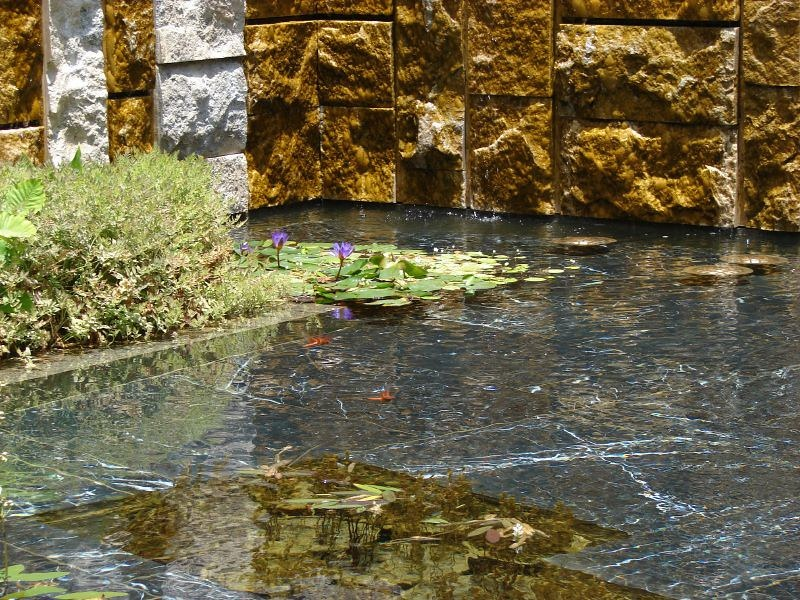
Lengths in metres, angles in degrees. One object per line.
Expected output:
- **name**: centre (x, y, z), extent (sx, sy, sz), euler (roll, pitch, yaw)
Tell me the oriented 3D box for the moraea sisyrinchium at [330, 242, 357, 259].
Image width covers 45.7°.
- **moraea sisyrinchium**: centre (-0.294, -0.244, 4.803), extent (0.162, 0.083, 0.130), euler (0, 4, 19)
